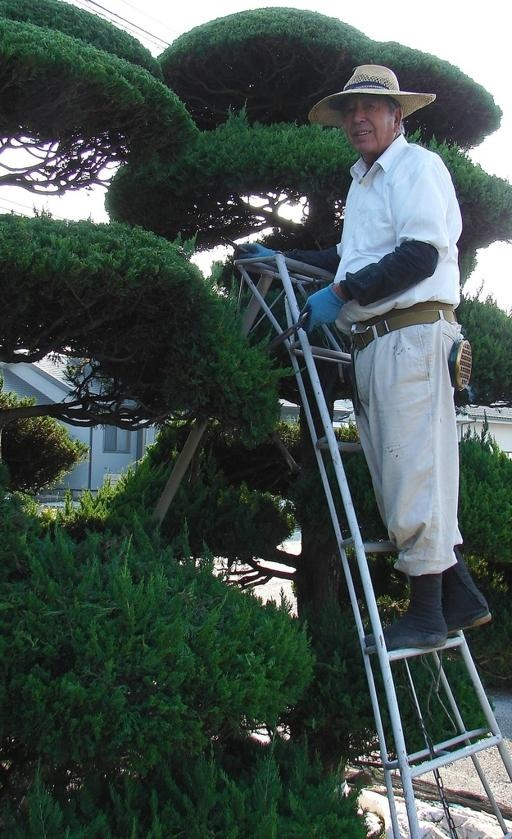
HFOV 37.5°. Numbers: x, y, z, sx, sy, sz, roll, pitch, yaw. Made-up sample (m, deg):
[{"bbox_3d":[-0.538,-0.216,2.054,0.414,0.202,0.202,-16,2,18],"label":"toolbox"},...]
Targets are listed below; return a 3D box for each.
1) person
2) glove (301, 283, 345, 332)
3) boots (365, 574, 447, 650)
[{"bbox_3d":[0.589,-0.331,3.169,0.577,2.440,0.750,1,4,-35],"label":"person"},{"bbox_3d":[0.306,-0.469,3.262,0.146,0.197,0.071,48,21,29],"label":"glove"},{"bbox_3d":[0.637,0.760,2.936,0.399,0.379,0.185,-1,-10,18],"label":"boots"}]
